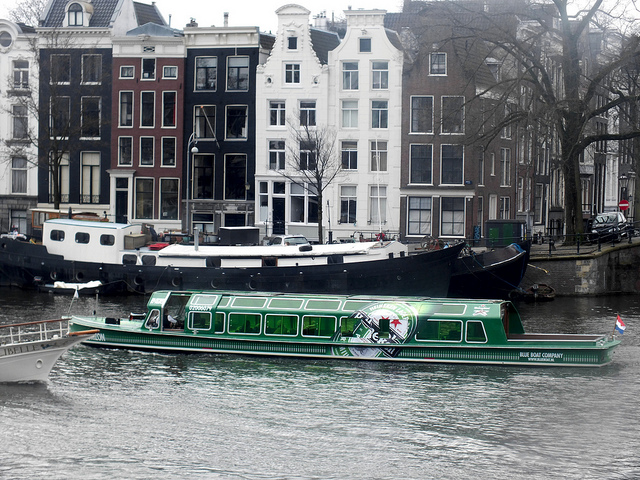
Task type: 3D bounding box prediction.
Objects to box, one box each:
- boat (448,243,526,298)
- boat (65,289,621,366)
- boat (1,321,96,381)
[{"bbox_3d":[8.101,1.612,73.995,3.736,1.451,2.148,-4,1,22],"label":"boat"},{"bbox_3d":[0.691,3.743,63.767,28.992,2.703,15.635,-5,-5,23],"label":"boat"},{"bbox_3d":[-12.030,4.591,61.699,5.777,1.931,1.966,-2,-1,19],"label":"boat"}]
